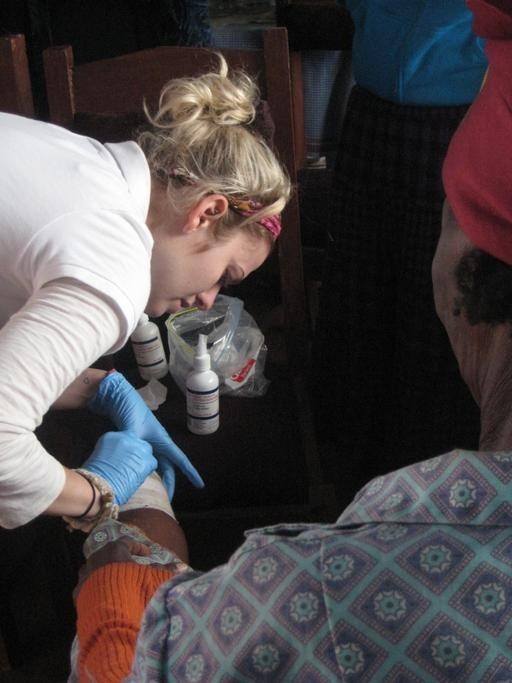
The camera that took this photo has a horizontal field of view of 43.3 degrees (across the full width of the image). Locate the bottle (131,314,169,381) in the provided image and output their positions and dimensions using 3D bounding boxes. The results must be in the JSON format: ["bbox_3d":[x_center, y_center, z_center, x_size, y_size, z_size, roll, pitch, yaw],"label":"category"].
[{"bbox_3d":[-0.234,0.019,1.398,0.077,0.161,0.067,-3,47,8],"label":"bottle"}]
